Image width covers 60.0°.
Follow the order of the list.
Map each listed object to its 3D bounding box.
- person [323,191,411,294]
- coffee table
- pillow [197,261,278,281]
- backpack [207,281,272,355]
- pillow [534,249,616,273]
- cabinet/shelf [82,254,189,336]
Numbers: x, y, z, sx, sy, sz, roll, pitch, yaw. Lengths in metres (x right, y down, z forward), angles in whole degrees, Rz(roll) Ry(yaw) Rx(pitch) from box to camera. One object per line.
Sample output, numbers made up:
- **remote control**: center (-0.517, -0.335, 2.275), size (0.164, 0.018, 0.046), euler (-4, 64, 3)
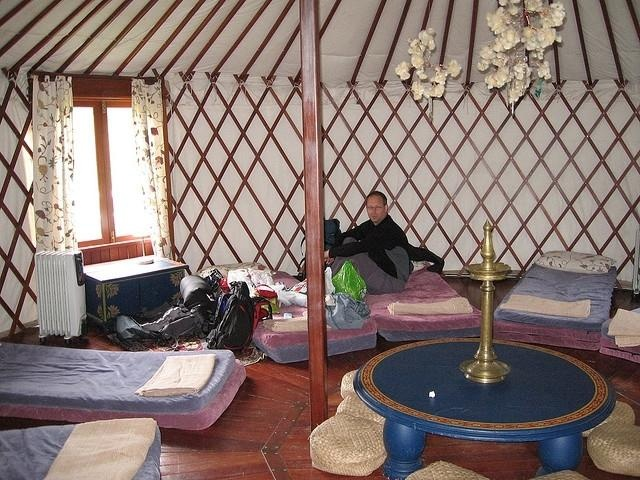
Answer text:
- **person**: center (0.368, 0.147, 4.747), size (0.799, 1.130, 0.480), euler (5, 9, -4)
- **coffee table**: center (0.678, 0.654, 2.373), size (1.063, 0.171, 0.690), euler (0, 14, 3)
- **pillow**: center (-0.791, 0.276, 5.092), size (0.674, 0.142, 0.537), euler (-4, 15, -13)
- **backpack**: center (-0.562, 0.571, 3.871), size (0.347, 0.419, 0.253), euler (6, -27, 43)
- **pillow**: center (2.352, 0.205, 5.120), size (0.677, 0.116, 0.382), euler (7, 16, 28)
- **cabinet/shelf**: center (-1.526, 0.387, 4.434), size (0.547, 0.305, 0.546), euler (-7, 13, -41)
